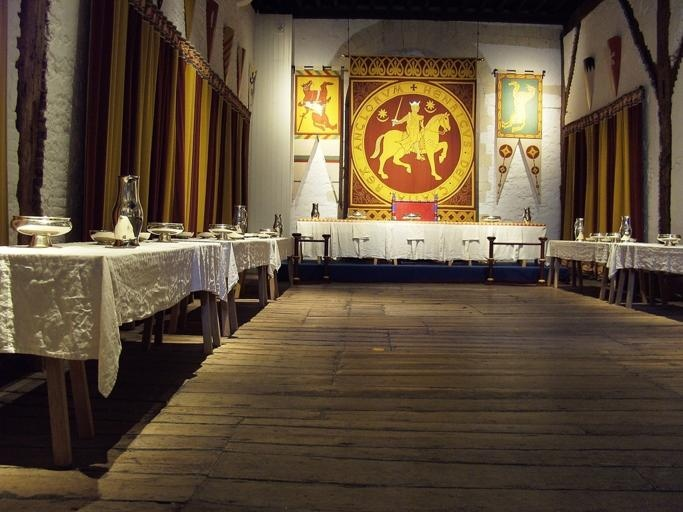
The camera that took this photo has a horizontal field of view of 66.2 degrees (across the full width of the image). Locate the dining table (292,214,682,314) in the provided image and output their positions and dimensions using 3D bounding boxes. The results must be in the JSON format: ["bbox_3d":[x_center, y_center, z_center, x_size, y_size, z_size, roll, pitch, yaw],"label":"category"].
[{"bbox_3d":[1.763,0.000,6.941,4.587,0.852,2.229,6,9,40],"label":"dining table"}]

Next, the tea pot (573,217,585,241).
[{"bbox_3d":[2.883,-0.320,6.357,0.091,0.259,0.230,3,7,23],"label":"tea pot"}]
